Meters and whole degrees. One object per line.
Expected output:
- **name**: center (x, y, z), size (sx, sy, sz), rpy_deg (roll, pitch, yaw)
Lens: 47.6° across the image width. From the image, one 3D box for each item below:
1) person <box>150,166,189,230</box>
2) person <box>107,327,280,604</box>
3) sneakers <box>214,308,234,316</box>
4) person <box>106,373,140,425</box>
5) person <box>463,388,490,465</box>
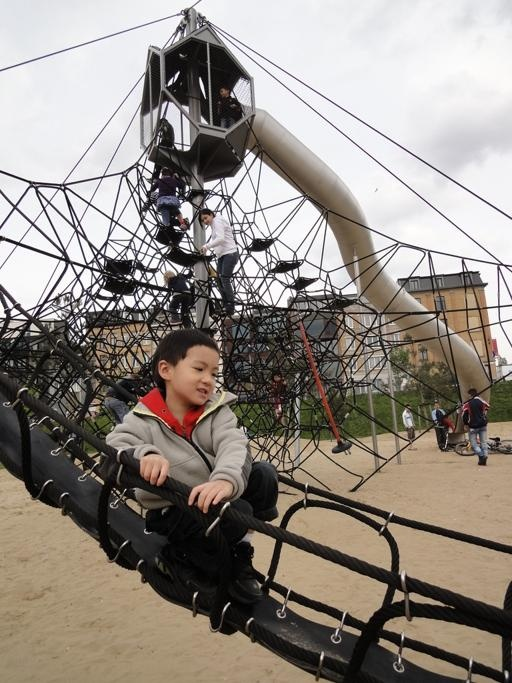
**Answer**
- **person**: center (-1.260, -2.053, 8.427), size (0.500, 0.950, 0.335), rpy_deg (0, -10, -22)
- **person**: center (-0.236, 0.432, 2.073), size (0.565, 0.896, 0.620), rpy_deg (2, 1, 21)
- **sneakers**: center (-0.394, -0.343, 6.965), size (0.152, 0.050, 0.138), rpy_deg (-1, -7, 3)
- **person**: center (-1.257, 0.511, 5.437), size (0.300, 0.258, 0.797), rpy_deg (-7, -18, -26)
- **person**: center (4.451, 1.714, 11.750), size (0.592, 1.553, 0.725), rpy_deg (3, -13, -3)
